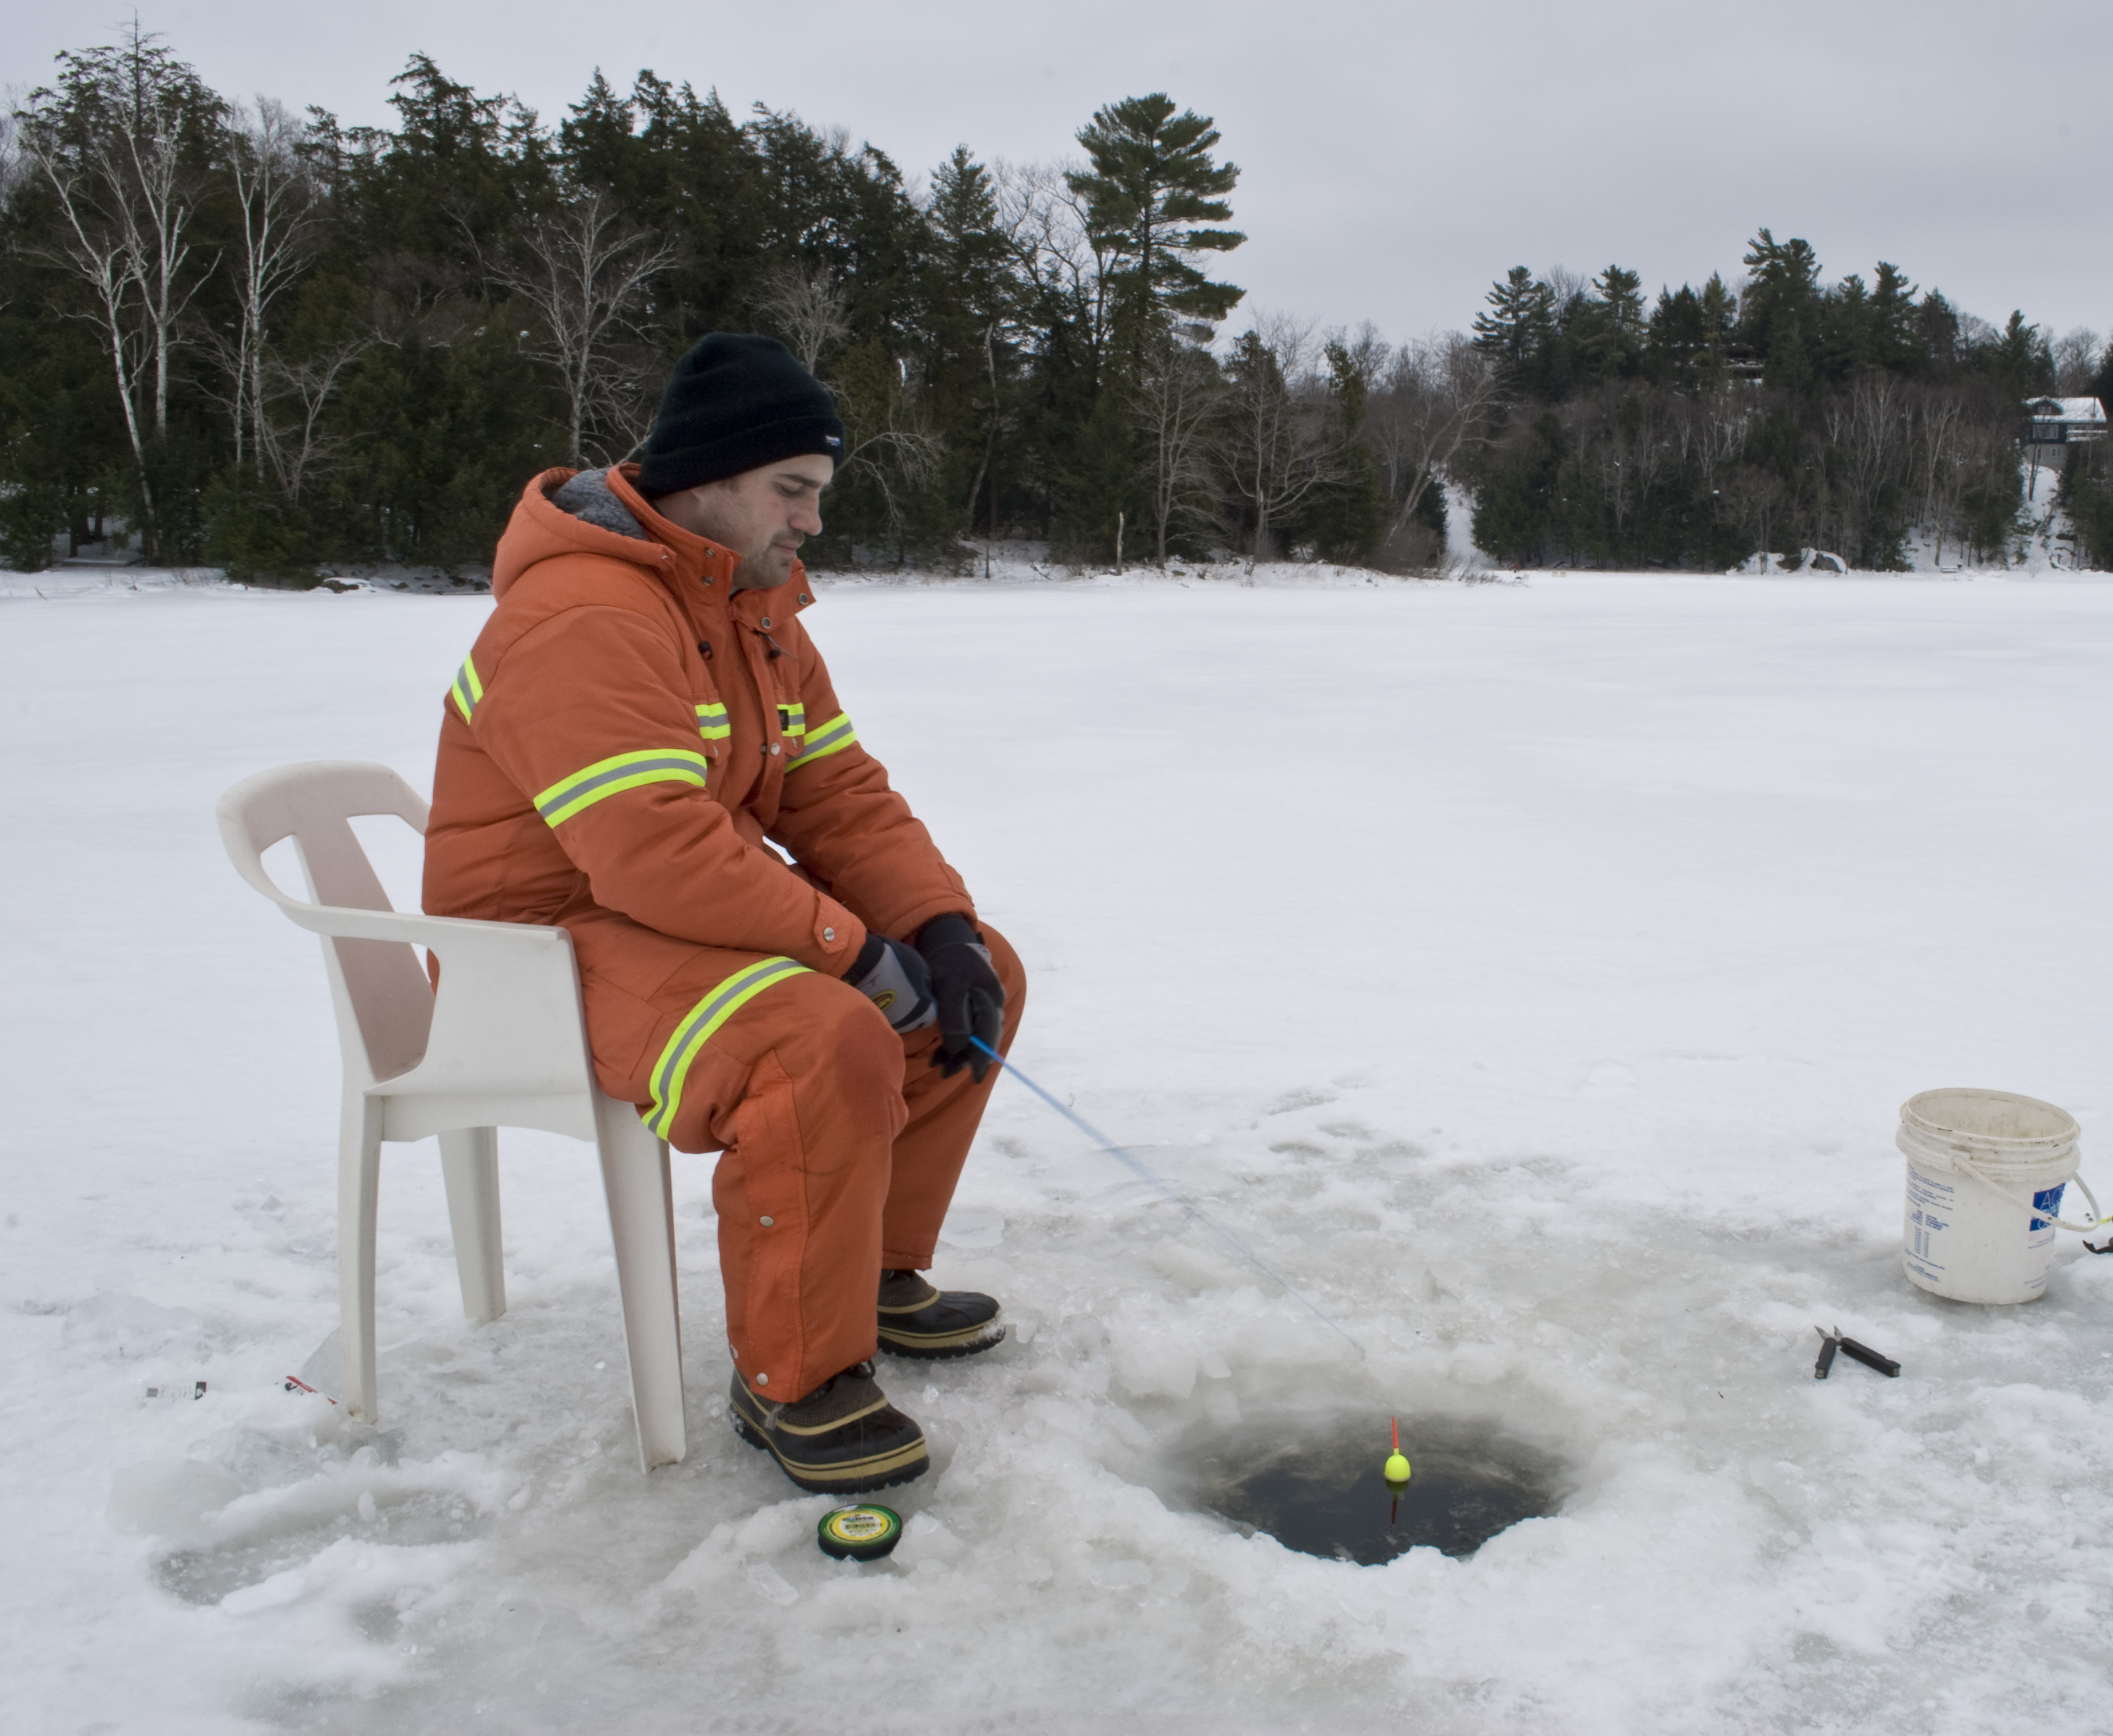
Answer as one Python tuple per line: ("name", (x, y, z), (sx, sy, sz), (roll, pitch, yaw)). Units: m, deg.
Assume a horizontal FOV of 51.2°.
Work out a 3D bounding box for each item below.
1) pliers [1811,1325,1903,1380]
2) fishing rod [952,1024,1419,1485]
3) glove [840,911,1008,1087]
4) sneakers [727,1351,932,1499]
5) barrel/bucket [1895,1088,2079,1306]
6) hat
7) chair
("pliers", (1.429, 0.866, 3.939), (0.150, 0.059, 0.141), (5, 12, 23))
("fishing rod", (0.225, 0.898, 3.751), (0.791, 0.125, 0.061), (17, 1, 4))
("glove", (-0.243, 0.218, 3.913), (0.199, 0.278, 0.184), (-8, 14, -40))
("sneakers", (-0.390, 0.924, 3.752), (0.335, 0.184, 0.154), (4, 6, 35))
("barrel/bucket", (1.741, 0.621, 4.163), (0.297, 0.367, 0.251), (5, 12, 22))
("hat", (-0.573, -0.802, 3.925), (0.280, 0.285, 0.279), (1, 11, -4))
("chair", (-0.974, 0.398, 3.934), (0.809, 1.121, 0.811), (-5, 11, -21))
